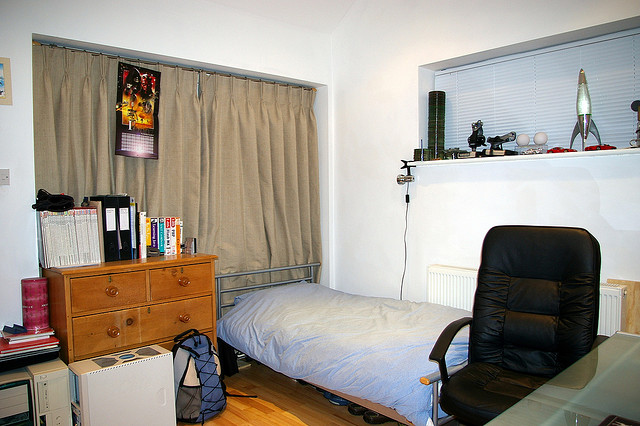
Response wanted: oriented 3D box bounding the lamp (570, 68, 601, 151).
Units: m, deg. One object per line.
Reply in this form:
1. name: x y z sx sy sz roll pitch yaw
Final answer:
1. lamp: 2.058 -0.800 3.622 0.344 0.634 0.206 -6 7 -42

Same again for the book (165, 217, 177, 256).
1. book: -1.257 0.192 3.912 0.103 0.305 0.049 -3 5 -19

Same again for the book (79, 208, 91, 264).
1. book: -1.766 0.176 3.505 0.047 0.410 0.050 -5 6 -28

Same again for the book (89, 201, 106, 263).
1. book: -1.713 0.139 3.604 0.062 0.463 0.168 -6 6 -38

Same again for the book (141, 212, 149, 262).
1. book: -1.407 0.185 3.751 0.060 0.350 0.187 -3 5 -17

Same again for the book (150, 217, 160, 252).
1. book: -1.367 0.179 3.850 0.070 0.268 0.050 -4 5 -20

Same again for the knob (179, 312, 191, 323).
1. knob: -1.055 0.823 3.671 0.079 0.077 0.024 -17 -1 -35

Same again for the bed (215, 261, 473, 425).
1. bed: 0.064 0.960 3.687 1.621 0.476 1.142 6 12 44

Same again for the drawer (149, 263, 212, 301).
1. drawer: -1.082 0.563 3.810 0.524 0.253 0.336 -8 -14 -1

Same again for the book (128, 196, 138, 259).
1. book: -1.494 0.137 3.731 0.054 0.448 0.111 -3 5 -14

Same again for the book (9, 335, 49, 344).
1. book: -2.043 0.889 3.274 0.232 0.026 0.013 -5 6 -33

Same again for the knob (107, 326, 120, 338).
1. knob: -1.508 0.862 3.400 0.069 0.071 0.074 6 4 36

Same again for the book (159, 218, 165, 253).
1. book: -1.319 0.188 3.893 0.049 0.276 0.013 -4 6 -22
